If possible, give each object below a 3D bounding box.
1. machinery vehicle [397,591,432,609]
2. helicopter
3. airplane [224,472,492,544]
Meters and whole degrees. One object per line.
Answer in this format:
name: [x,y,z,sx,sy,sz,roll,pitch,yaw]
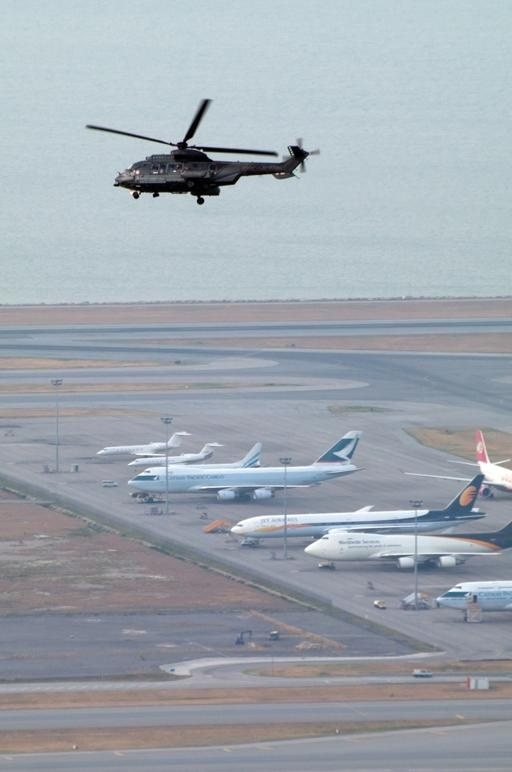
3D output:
machinery vehicle: [8.491,11.260,96.782,1.572,0.668,1.780,0,10,5]
helicopter: [-4.421,-9.109,77.032,12.338,4.052,9.610,4,6,9]
airplane: [6.170,8.018,108.871,8.539,2.026,6.700,-2,2,0]
